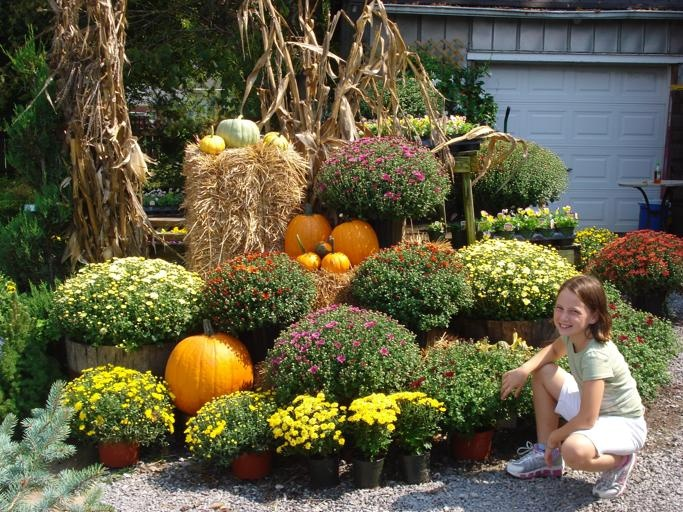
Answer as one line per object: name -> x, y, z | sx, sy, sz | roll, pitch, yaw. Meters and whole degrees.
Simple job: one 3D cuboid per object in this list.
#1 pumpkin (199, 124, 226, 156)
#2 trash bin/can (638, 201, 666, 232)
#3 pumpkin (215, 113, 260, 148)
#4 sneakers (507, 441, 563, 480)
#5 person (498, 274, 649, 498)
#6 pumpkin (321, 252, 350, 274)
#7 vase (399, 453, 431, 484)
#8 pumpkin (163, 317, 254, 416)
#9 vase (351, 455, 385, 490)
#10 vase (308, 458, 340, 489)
pumpkin -> -1.172, -1.042, 7.194 | 0.232, 0.315, 0.246 | -1, 7, -19
trash bin/can -> 4.288, -0.542, 11.177 | 0.377, 0.447, 0.454 | 7, 17, 29
pumpkin -> -0.946, -1.113, 7.365 | 0.323, 0.298, 0.333 | 3, 1, 19
sneakers -> 1.302, 1.390, 5.497 | 0.413, 0.246, 0.181 | 1, 1, 1
person -> 1.570, 0.829, 5.386 | 0.861, 1.360, 0.892 | 3, 1, -37
pumpkin -> -0.051, 0.053, 6.764 | 0.176, 0.169, 0.173 | -1, 2, -3
vase -> 0.496, 1.438, 5.532 | 0.195, 0.174, 0.183 | 1, 0, -14
pumpkin -> -1.007, 0.834, 6.236 | 0.555, 0.714, 0.616 | -1, 6, 12
vase -> 0.172, 1.448, 5.392 | 0.194, 0.150, 0.178 | 2, -5, -11
vase -> -0.119, 1.447, 5.426 | 0.187, 0.147, 0.191 | 1, 4, 10
